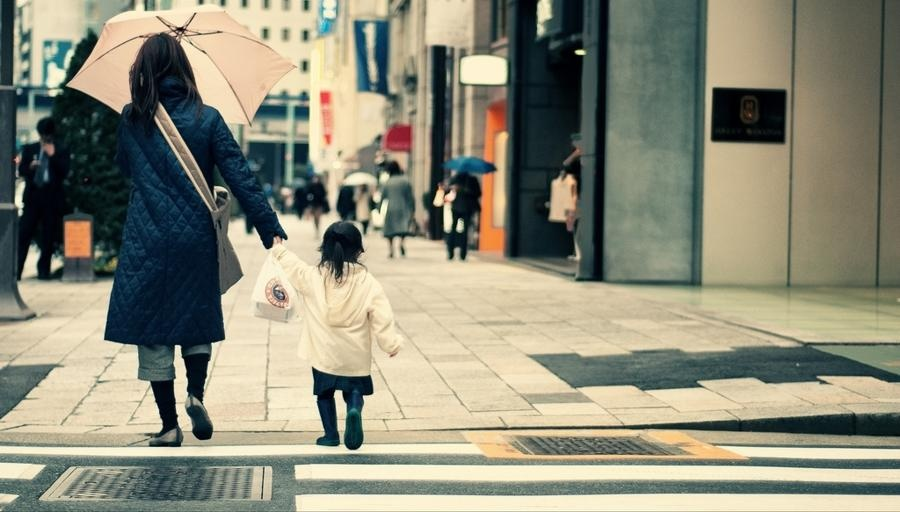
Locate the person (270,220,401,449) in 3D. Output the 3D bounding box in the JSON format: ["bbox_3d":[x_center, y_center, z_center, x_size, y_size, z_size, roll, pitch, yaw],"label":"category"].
[{"bbox_3d":[-1.059,0.767,11.063,1.161,2.187,0.608,7,15,24],"label":"person"}]

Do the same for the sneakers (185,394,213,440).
[{"bbox_3d":[-2.436,1.616,10.925,0.216,0.491,0.217,-16,32,-3],"label":"sneakers"}]

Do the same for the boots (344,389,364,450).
[{"bbox_3d":[-0.945,1.612,11.019,0.193,0.566,0.244,0,14,-5],"label":"boots"}]

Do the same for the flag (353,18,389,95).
[{"bbox_3d":[-2.847,-7.227,40.392,1.220,2.687,0.965,0,14,-4],"label":"flag"}]

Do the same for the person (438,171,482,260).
[{"bbox_3d":[0.235,-0.894,24.396,0.821,2.105,1.211,1,14,0],"label":"person"}]

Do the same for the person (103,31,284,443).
[{"bbox_3d":[-2.635,-0.137,10.887,1.510,3.959,0.951,-3,14,-15],"label":"person"}]

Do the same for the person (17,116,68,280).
[{"bbox_3d":[-6.921,-0.931,18.949,0.929,2.837,0.610,-6,16,-26],"label":"person"}]
